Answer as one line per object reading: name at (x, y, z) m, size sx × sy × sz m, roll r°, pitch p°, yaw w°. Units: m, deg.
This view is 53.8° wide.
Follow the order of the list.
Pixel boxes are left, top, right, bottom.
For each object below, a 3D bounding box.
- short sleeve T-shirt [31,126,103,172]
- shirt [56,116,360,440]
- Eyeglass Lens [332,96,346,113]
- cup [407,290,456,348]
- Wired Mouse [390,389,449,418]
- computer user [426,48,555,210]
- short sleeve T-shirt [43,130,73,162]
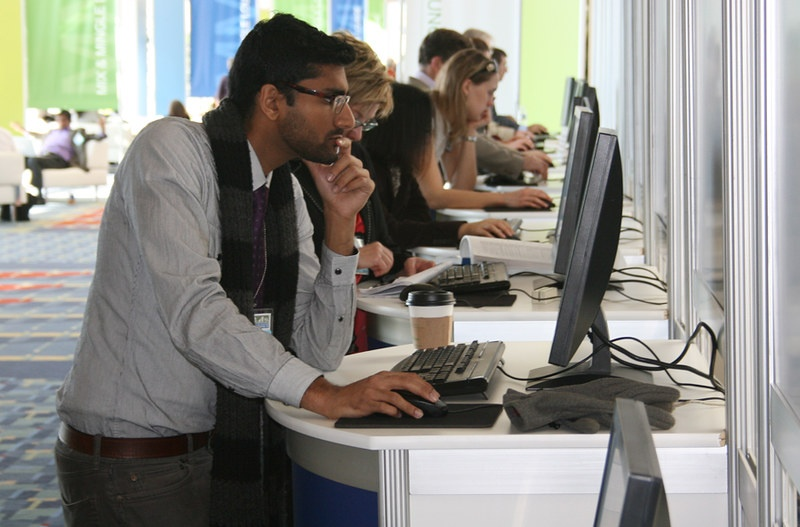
short sleeve T-shirt at (-4.677, -1.591, 11.115) m, size 0.877 × 0.480 × 0.215 m, roll -4°, pitch 6°, yaw -21°
shirt at (-0.448, 0.056, 2.119) m, size 0.817 × 0.778 × 0.633 m, roll 0°, pitch 1°, yaw 17°
Eyeglass Lens at (-0.151, -0.394, 1.950) m, size 0.042 × 0.039 × 0.011 m, roll 1°, pitch 7°, yaw -8°
cup at (0.085, 0.150, 2.159) m, size 0.147 × 0.151 × 0.145 m, roll -2°, pitch 0°, yaw 0°
Wired Mouse at (0.046, 0.294, 1.700) m, size 0.100 × 0.027 × 0.052 m, roll 14°, pitch 4°, yaw 13°
computer user at (0.369, -0.689, 4.384) m, size 0.870 × 0.541 × 0.935 m, roll -4°, pitch 14°, yaw -1°
short sleeve T-shirt at (-4.724, -1.629, 10.959) m, size 0.456 × 0.420 × 0.252 m, roll 2°, pitch -19°, yaw -2°
